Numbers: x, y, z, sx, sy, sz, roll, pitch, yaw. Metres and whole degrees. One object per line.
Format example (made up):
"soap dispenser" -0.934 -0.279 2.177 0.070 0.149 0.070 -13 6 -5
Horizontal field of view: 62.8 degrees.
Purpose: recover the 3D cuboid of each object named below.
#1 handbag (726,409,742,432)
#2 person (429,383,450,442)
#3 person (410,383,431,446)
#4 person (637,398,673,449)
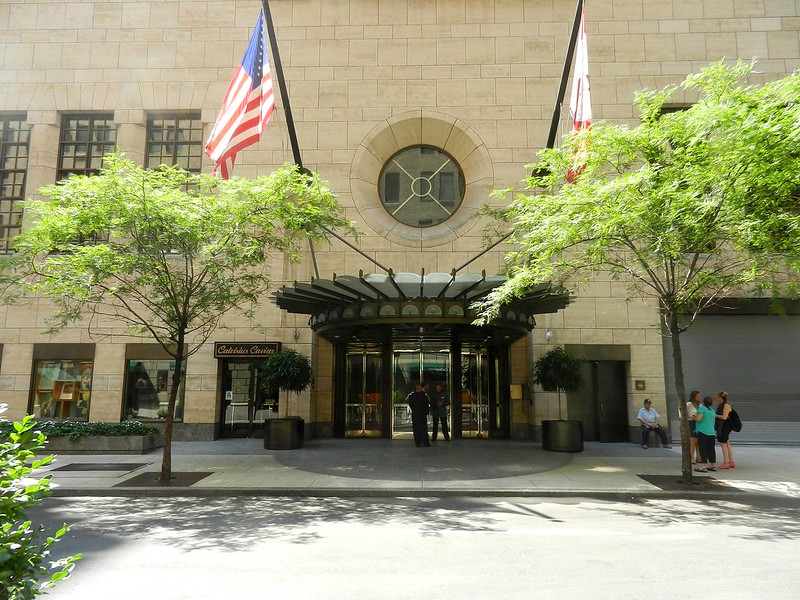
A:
"handbag" 9.307 3.363 18.330 0.251 0.556 0.556 -13 -15 39
"person" 1.417 4.084 24.027 0.585 2.101 0.857 -4 -12 6
"person" 0.664 4.010 22.570 0.730 1.983 0.553 4 -14 -26
"person" 8.638 4.285 22.783 0.773 1.669 1.481 -10 -14 33
